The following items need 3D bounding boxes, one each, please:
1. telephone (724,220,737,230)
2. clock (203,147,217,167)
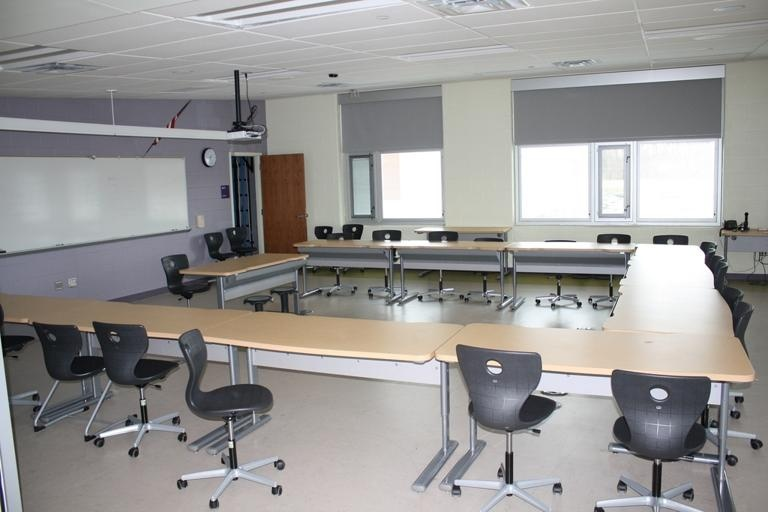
[{"bbox_3d":[6.430,-0.572,10.220,0.208,0.193,0.204,1,8,24],"label":"telephone"},{"bbox_3d":[-3.891,-2.177,12.196,0.098,0.412,0.416,2,12,20],"label":"clock"}]
